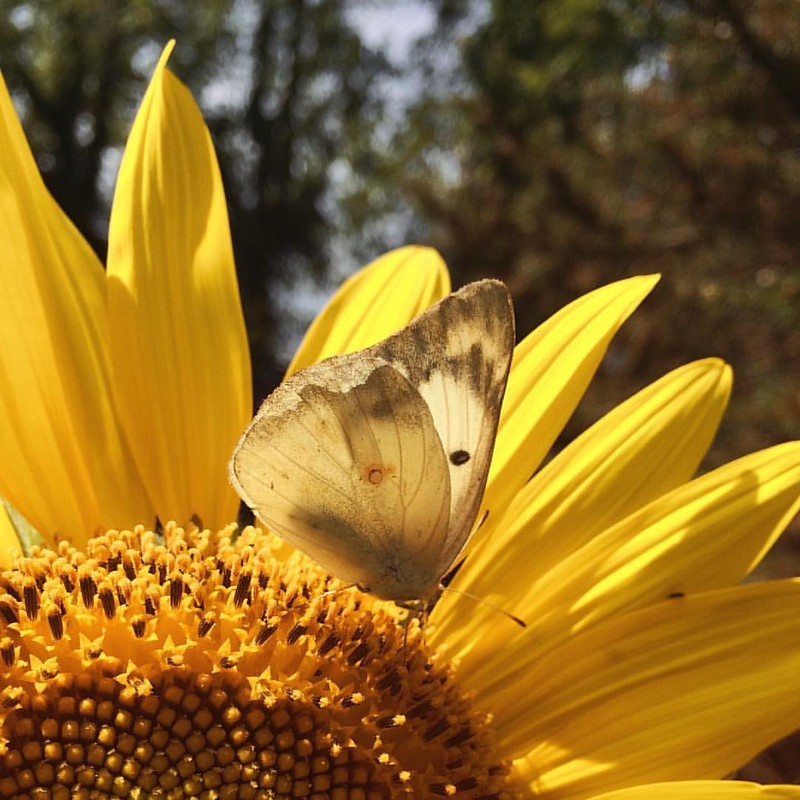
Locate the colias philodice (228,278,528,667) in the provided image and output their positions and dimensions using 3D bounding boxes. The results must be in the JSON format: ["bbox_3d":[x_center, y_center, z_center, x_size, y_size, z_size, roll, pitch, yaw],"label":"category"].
[{"bbox_3d":[0.004,0.067,1.126,0.304,0.297,0.254,7,63,25],"label":"colias philodice"}]
